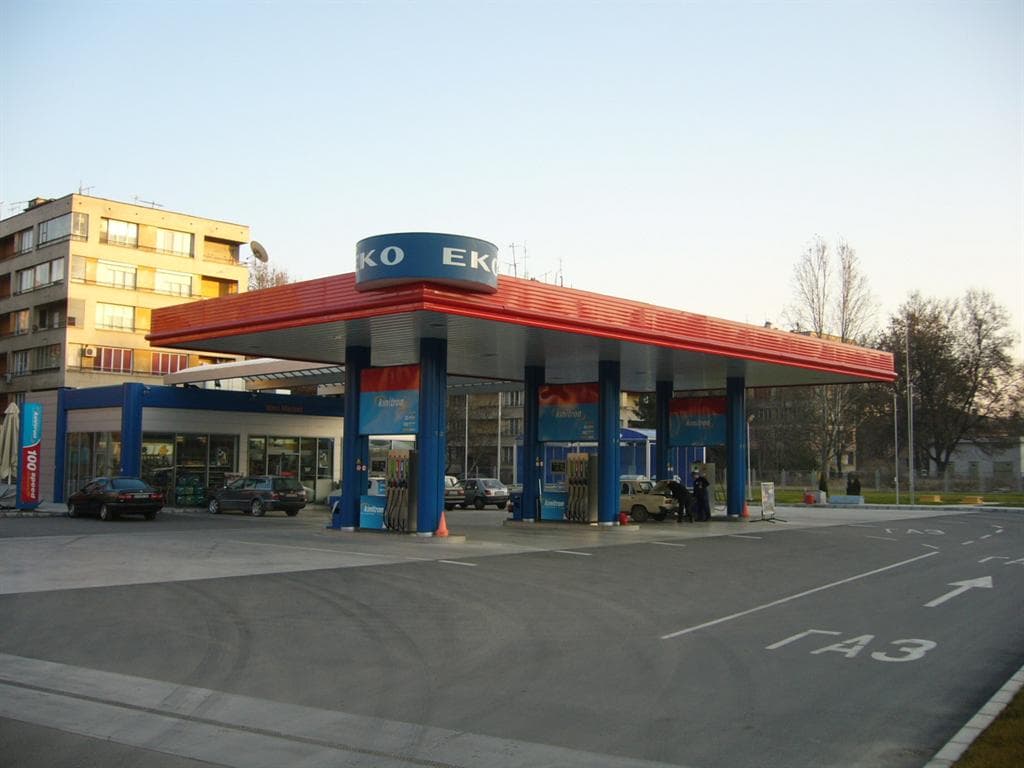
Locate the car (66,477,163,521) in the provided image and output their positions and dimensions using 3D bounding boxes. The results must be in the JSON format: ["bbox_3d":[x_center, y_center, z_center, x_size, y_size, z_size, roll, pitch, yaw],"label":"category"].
[{"bbox_3d":[-13.342,3.781,32.838,3.092,1.031,1.454,-1,-5,44],"label":"car"}]

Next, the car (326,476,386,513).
[{"bbox_3d":[-4.901,3.310,30.518,1.313,1.129,6.415,1,-3,-14],"label":"car"}]

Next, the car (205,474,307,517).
[{"bbox_3d":[-9.894,4.273,37.799,3.359,1.176,1.546,0,-5,34],"label":"car"}]

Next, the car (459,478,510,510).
[{"bbox_3d":[-1.150,4.963,45.333,1.272,1.015,1.922,5,-12,-38],"label":"car"}]

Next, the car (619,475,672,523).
[{"bbox_3d":[4.623,3.956,33.975,1.827,1.068,1.147,2,-2,34],"label":"car"}]
